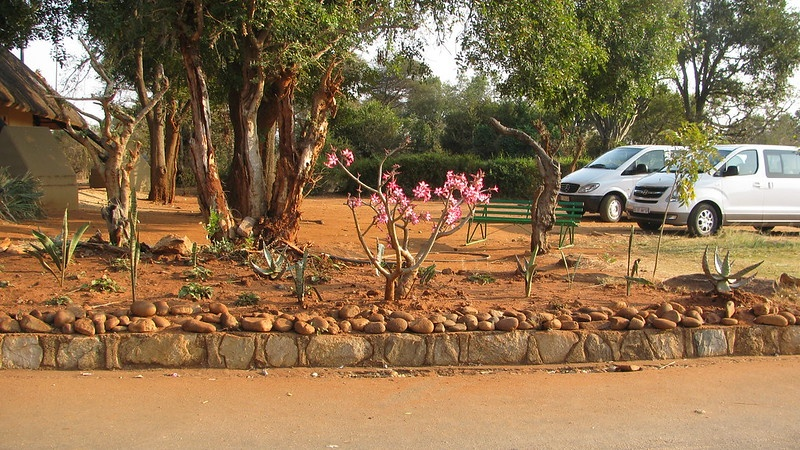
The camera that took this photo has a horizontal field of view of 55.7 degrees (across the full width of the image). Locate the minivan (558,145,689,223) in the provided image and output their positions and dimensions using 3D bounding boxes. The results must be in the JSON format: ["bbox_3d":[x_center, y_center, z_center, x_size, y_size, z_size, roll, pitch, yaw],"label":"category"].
[{"bbox_3d":[7.559,-1.502,25.821,3.894,1.936,2.420,2,-1,-19],"label":"minivan"}]
